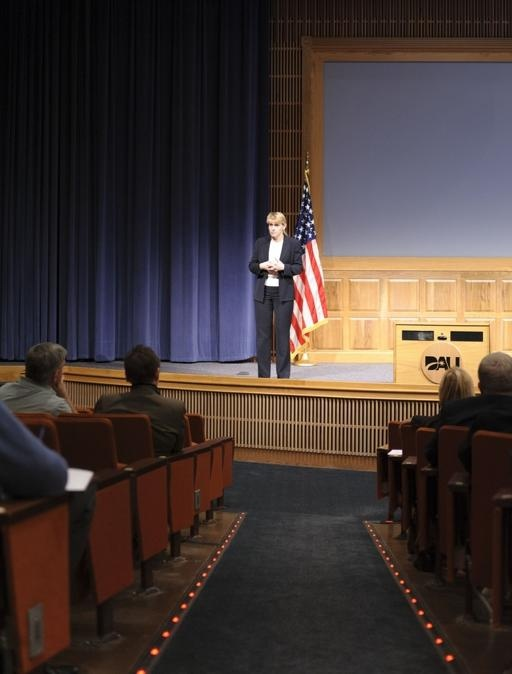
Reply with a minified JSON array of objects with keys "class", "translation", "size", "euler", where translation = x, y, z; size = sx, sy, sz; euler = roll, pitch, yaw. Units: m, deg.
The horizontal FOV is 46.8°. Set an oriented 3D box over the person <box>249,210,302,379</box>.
[{"class":"person","translation":[0.167,-0.374,5.187],"size":[0.455,1.478,0.527],"euler":[0,-3,5]}]
